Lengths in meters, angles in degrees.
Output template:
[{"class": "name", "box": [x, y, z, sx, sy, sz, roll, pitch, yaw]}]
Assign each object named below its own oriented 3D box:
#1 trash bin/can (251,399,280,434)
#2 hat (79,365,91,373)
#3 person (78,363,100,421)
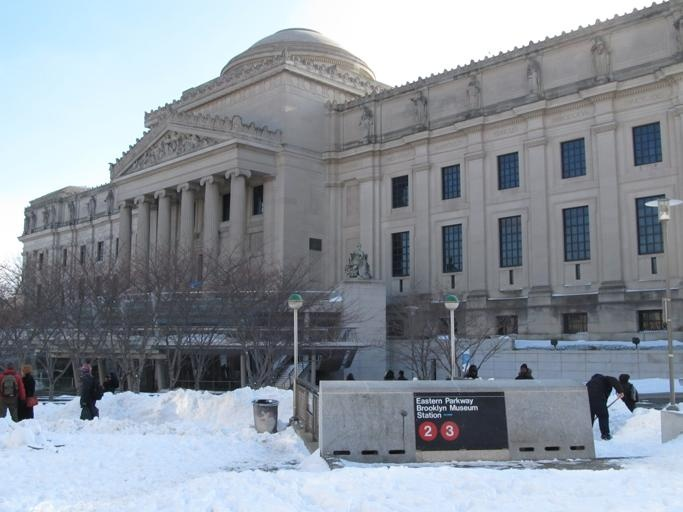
[{"class": "trash bin/can", "box": [-2.432, 5.146, 25.725, 0.929, 0.999, 0.946, 3, -4, -8]}, {"class": "hat", "box": [-8.836, 3.876, 27.611, 0.331, 0.330, 0.374, 10, 1, -5]}, {"class": "person", "box": [-8.615, 4.622, 27.531, 0.624, 1.898, 1.340, 2, -12, -17]}]
